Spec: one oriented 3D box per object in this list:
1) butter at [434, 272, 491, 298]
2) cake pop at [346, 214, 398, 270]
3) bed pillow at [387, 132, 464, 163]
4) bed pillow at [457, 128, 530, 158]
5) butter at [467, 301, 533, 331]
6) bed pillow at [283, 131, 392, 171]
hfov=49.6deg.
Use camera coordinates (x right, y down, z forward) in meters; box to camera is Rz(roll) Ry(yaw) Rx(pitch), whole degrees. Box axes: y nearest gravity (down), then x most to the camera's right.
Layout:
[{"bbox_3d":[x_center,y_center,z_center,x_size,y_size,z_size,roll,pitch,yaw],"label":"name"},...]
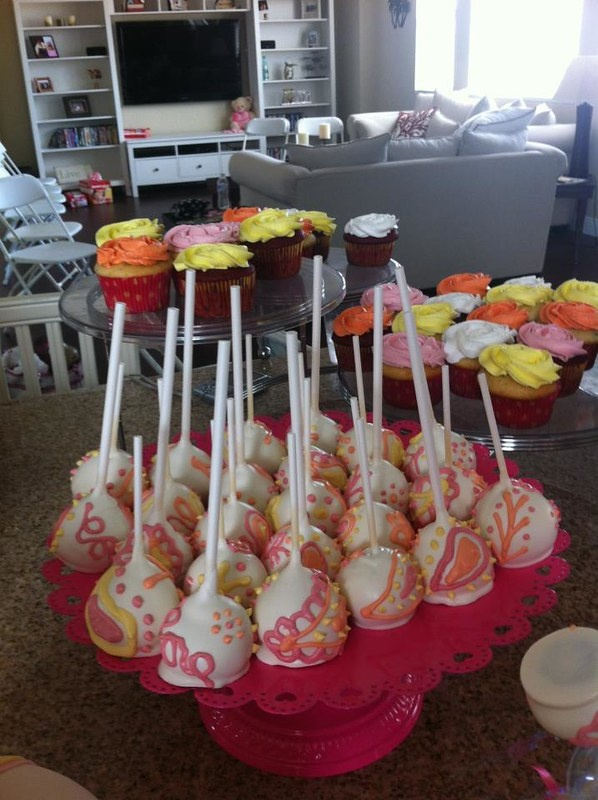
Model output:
[{"bbox_3d":[0.386,-0.266,1.495,0.098,0.044,0.105,-10,26,9],"label":"butter"},{"bbox_3d":[0.198,-0.454,1.861,0.166,0.132,0.161,-1,17,0],"label":"cake pop"},{"bbox_3d":[0.690,-1.395,3.613,0.452,0.098,0.270,-8,25,-10],"label":"bed pillow"},{"bbox_3d":[1.127,-1.450,3.727,0.284,0.080,0.266,-24,36,-13],"label":"bed pillow"},{"bbox_3d":[0.382,-0.157,1.199,0.087,0.032,0.083,8,-1,-2],"label":"butter"},{"bbox_3d":[0.225,-1.319,3.459,0.567,0.145,0.344,-3,25,0],"label":"bed pillow"}]
